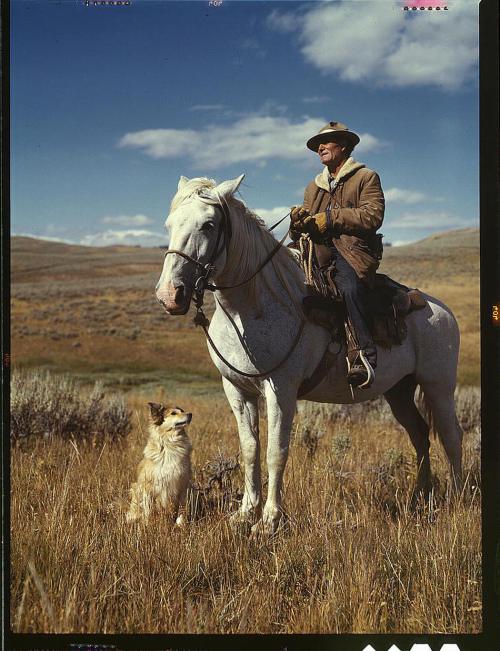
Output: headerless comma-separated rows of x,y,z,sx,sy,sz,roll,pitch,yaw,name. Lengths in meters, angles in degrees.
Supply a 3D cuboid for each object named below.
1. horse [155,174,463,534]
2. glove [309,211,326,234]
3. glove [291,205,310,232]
0.477,0.430,4.971,3.054,2.490,0.982,4,-4,-38,horse
0.501,-0.758,4.671,0.127,0.161,0.059,2,8,4,glove
0.371,-0.786,4.610,0.123,0.164,0.066,17,17,32,glove
